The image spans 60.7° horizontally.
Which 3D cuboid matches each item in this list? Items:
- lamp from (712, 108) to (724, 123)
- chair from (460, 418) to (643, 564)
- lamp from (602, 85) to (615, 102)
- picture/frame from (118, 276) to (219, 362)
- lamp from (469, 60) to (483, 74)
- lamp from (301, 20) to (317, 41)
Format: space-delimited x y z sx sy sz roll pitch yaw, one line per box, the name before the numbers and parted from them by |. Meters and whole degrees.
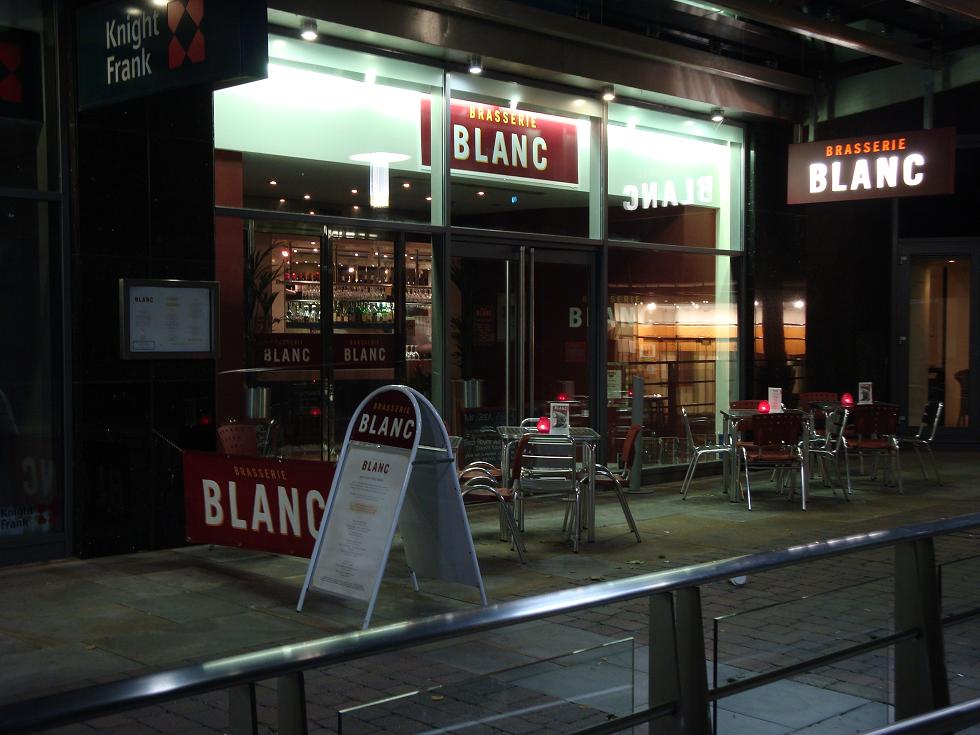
lamp | 3.232 -3.605 11.935 0.118 0.109 0.123 16 41 -1
chair | 0.406 1.055 7.812 1.293 0.874 1.346 0 3 13
lamp | 1.512 -3.537 10.752 0.129 0.141 0.133 1 -11 4
picture/frame | -2.920 -0.441 7.490 0.076 0.612 0.760 -3 -3 41
lamp | -0.186 -3.472 9.630 0.109 0.116 0.108 4 13 11
lamp | -1.823 -3.406 8.417 0.123 0.145 0.127 1 15 -3
